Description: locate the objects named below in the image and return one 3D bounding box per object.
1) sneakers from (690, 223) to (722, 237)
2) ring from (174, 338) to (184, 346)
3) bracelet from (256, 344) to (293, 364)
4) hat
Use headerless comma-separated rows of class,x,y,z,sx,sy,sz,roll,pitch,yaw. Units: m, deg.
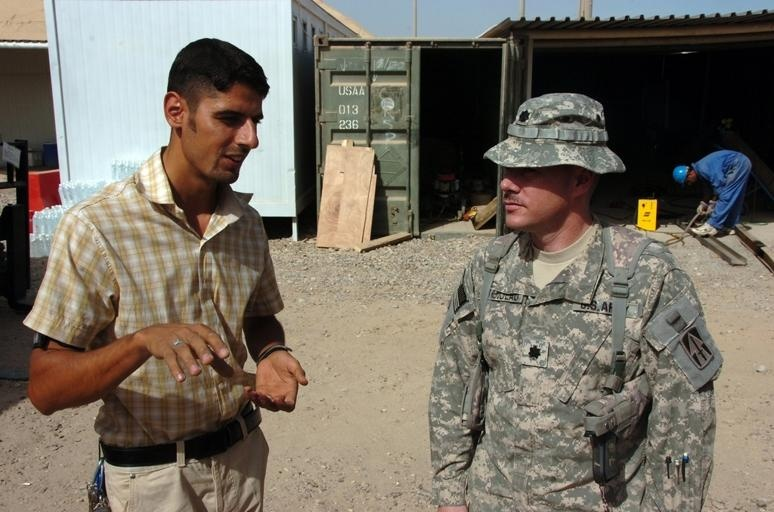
sneakers,5.300,-0.453,11.015,0.472,0.245,0.210,1,14,0
ring,-0.831,0.343,2.625,0.035,0.018,0.028,2,10,9
bracelet,-0.570,0.511,3.282,0.131,0.053,0.099,-16,13,-1
hat,0.842,-0.625,3.315,0.682,0.366,0.658,13,16,36
